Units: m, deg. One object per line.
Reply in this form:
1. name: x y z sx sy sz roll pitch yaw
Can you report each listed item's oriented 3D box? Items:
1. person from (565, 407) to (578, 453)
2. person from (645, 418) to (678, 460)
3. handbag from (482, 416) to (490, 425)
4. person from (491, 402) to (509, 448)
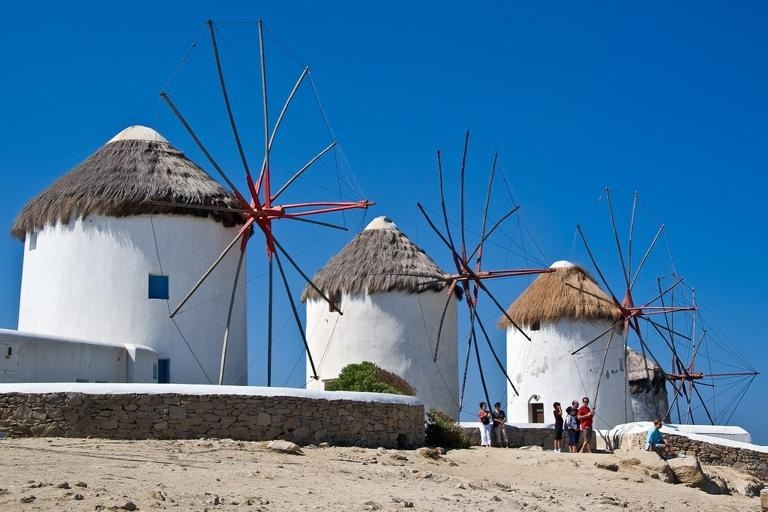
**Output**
1. person: 5.399 4.956 25.322 0.375 1.323 1.419 -3 -14 12
2. person: 7.694 5.102 24.814 0.663 1.101 0.547 1 5 0
3. handbag: 3.043 4.856 26.237 0.250 0.311 0.255 1 1 -25
4. person: 3.505 5.128 26.737 0.382 1.240 1.241 -2 -14 7
